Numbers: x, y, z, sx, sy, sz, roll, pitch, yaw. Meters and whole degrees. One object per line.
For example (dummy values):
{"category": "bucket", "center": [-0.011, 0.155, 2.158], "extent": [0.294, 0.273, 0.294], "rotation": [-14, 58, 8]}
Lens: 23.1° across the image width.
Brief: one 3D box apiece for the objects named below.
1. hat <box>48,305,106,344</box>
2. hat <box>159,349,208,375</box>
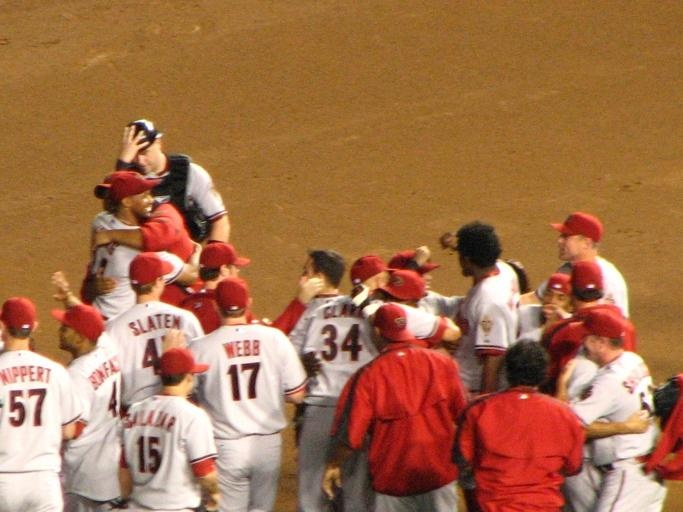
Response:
{"category": "hat", "center": [-3.822, 0.879, 24.550], "extent": [0.739, 0.386, 0.505], "rotation": [31, 17, 1]}
{"category": "hat", "center": [-2.314, 1.515, 24.235], "extent": [0.656, 0.405, 0.366], "rotation": [1, -2, -44]}
